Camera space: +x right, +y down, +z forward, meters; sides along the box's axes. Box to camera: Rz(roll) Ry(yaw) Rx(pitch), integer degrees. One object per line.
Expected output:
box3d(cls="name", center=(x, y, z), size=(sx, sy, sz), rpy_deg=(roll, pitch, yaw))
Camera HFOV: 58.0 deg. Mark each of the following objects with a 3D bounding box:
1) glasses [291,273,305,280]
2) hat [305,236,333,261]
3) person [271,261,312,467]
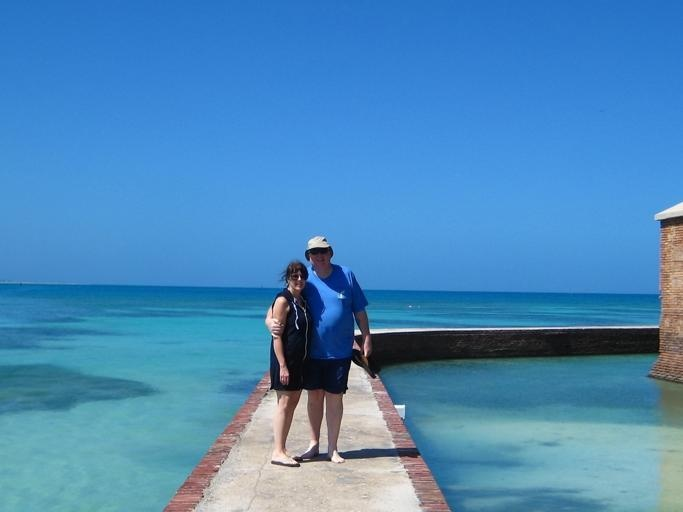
box3d(cls="glasses", center=(-0.483, 0.231, 6.979), size=(0.158, 0.072, 0.047), rpy_deg=(-1, -1, -6))
box3d(cls="hat", center=(-0.249, -0.085, 6.844), size=(0.370, 0.243, 0.492), rpy_deg=(-1, -19, 3))
box3d(cls="person", center=(-0.583, 1.245, 7.061), size=(0.461, 2.202, 0.254), rpy_deg=(-1, 0, -8))
